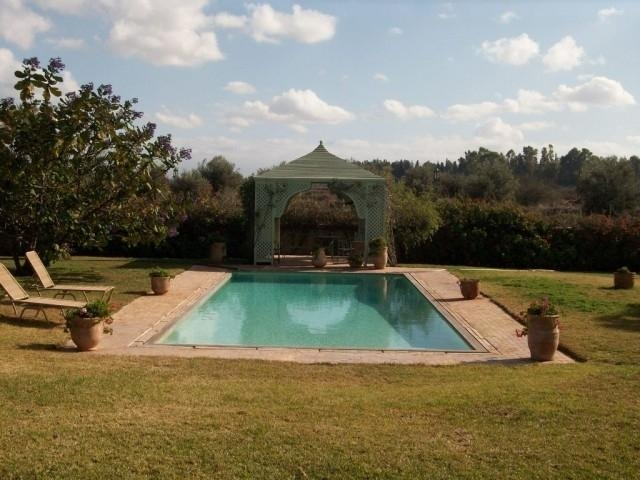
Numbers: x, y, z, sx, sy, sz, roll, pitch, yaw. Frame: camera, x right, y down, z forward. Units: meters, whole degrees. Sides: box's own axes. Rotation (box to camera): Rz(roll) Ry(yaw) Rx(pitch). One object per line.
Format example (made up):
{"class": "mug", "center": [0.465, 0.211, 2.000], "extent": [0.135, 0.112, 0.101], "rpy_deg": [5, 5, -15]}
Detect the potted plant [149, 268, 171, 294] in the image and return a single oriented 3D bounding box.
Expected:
{"class": "potted plant", "center": [-4.475, 1.172, 13.255], "extent": [0.681, 0.784, 0.659], "rpy_deg": [1, -5, -18]}

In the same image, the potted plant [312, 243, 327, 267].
{"class": "potted plant", "center": [-0.015, 0.753, 19.665], "extent": [0.721, 1.019, 0.745], "rpy_deg": [2, -2, -9]}

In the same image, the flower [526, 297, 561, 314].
{"class": "flower", "center": [4.005, 1.161, 8.347], "extent": [0.513, 0.343, 0.355], "rpy_deg": [-2, 5, -33]}

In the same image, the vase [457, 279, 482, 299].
{"class": "vase", "center": [4.250, 1.393, 13.170], "extent": [0.570, 0.451, 0.478], "rpy_deg": [-1, -1, 27]}

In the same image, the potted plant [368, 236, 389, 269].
{"class": "potted plant", "center": [2.421, 0.535, 18.973], "extent": [1.038, 1.446, 1.137], "rpy_deg": [-1, 4, 18]}

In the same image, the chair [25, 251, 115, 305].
{"class": "chair", "center": [-6.258, 1.129, 11.399], "extent": [1.818, 1.152, 0.592], "rpy_deg": [17, 10, -6]}

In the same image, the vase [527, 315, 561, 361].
{"class": "vase", "center": [3.954, 1.726, 8.311], "extent": [0.560, 0.761, 0.552], "rpy_deg": [2, -3, -32]}

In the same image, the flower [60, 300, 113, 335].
{"class": "flower", "center": [-4.129, 1.316, 8.571], "extent": [0.853, 0.594, 0.871], "rpy_deg": [-1, -14, -5]}

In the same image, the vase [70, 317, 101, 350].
{"class": "vase", "center": [-4.135, 1.636, 8.175], "extent": [0.555, 0.455, 0.569], "rpy_deg": [0, -6, 15]}

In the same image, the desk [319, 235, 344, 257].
{"class": "desk", "center": [0.641, 0.264, 23.648], "extent": [1.047, 1.070, 0.642], "rpy_deg": [4, -6, 9]}

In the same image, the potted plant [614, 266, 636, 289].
{"class": "potted plant", "center": [9.537, 1.208, 14.586], "extent": [0.521, 0.616, 0.740], "rpy_deg": [4, 5, 32]}
